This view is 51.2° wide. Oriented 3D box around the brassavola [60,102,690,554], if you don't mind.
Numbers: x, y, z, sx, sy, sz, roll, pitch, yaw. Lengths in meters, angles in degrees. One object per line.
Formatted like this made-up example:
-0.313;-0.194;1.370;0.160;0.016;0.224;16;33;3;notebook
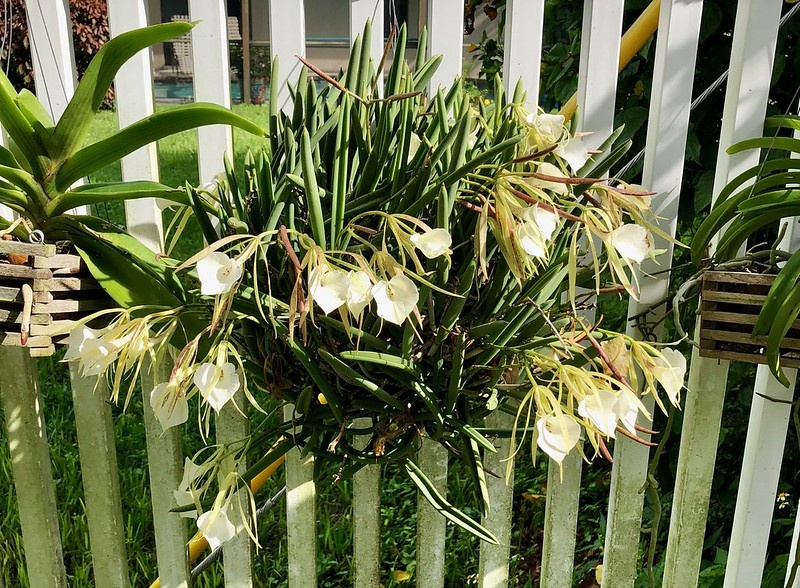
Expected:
-0.039;0.030;1.347;0.967;0.741;0.494;3;7;15;brassavola
